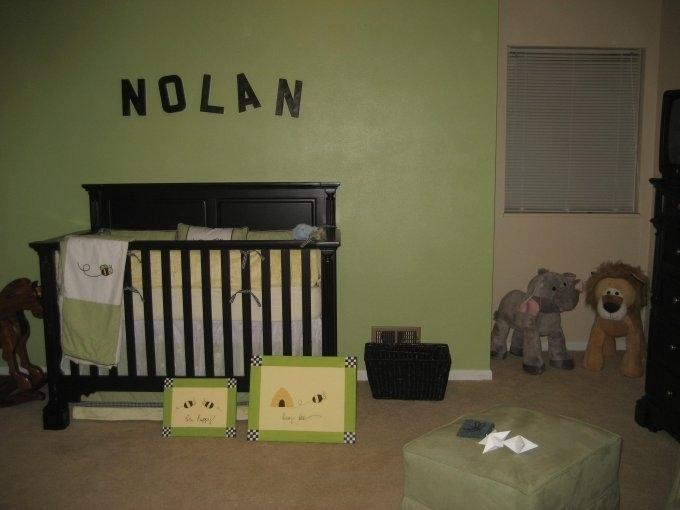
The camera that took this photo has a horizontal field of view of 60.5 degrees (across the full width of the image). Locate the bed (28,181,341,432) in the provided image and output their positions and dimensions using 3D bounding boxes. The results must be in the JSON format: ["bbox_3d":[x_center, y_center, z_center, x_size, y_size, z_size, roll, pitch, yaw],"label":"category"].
[{"bbox_3d":[-0.924,0.269,3.972,1.800,1.480,1.187,1,7,-1],"label":"bed"}]

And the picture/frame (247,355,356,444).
[{"bbox_3d":[-0.207,0.852,3.364,0.468,0.398,0.052,1,-6,5],"label":"picture/frame"}]

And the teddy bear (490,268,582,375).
[{"bbox_3d":[1.485,0.476,4.514,0.503,0.753,0.741,0,3,-32],"label":"teddy bear"}]

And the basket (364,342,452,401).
[{"bbox_3d":[0.448,0.770,3.884,0.491,0.257,0.340,1,-6,3],"label":"basket"}]

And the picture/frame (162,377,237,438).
[{"bbox_3d":[-0.821,0.904,3.432,0.330,0.284,0.034,0,1,3],"label":"picture/frame"}]

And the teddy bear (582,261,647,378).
[{"bbox_3d":[2.151,0.454,4.528,0.441,0.836,0.808,3,8,33],"label":"teddy bear"}]

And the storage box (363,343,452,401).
[{"bbox_3d":[0.427,0.773,3.890,0.496,0.264,0.335,1,-6,2],"label":"storage box"}]
